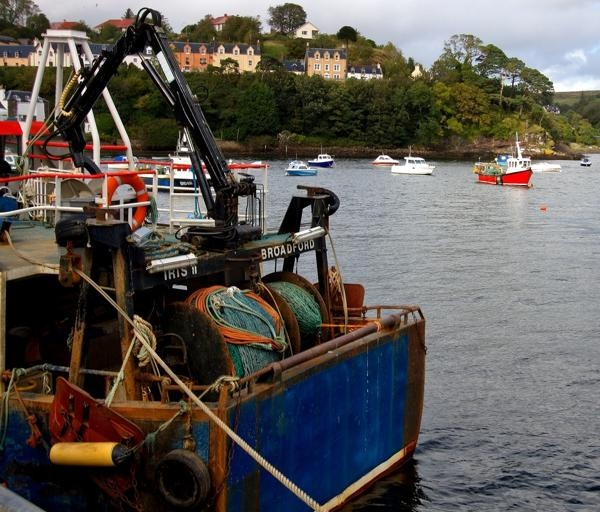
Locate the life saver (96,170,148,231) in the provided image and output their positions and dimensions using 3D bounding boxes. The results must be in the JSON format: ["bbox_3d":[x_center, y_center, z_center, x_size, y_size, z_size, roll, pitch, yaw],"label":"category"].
[{"bbox_3d":[-2.245,-0.786,9.835,0.469,0.875,0.433,-6,8,-41],"label":"life saver"}]

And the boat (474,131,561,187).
[{"bbox_3d":[23.923,-10.370,84.275,6.848,4.267,37.316,2,7,18],"label":"boat"}]
